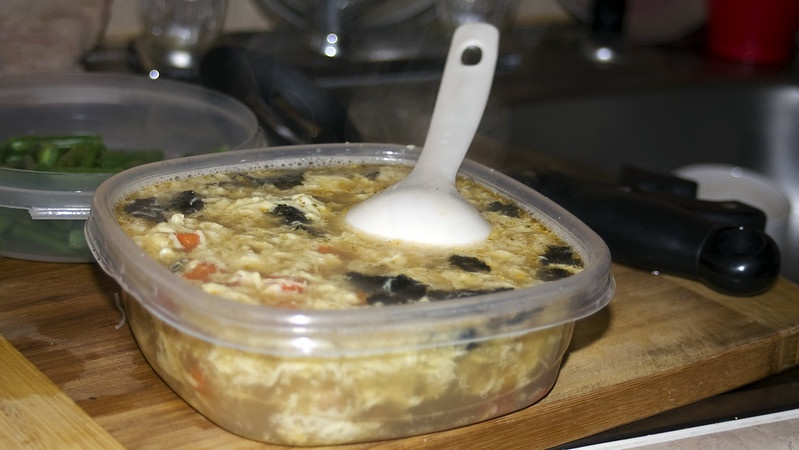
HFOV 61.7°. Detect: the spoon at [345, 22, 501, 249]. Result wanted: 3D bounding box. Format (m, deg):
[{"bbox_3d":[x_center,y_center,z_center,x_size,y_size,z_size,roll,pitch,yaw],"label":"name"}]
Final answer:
[{"bbox_3d":[0.095,-0.172,1.459,0.324,0.100,0.533,12,53,10],"label":"spoon"}]
